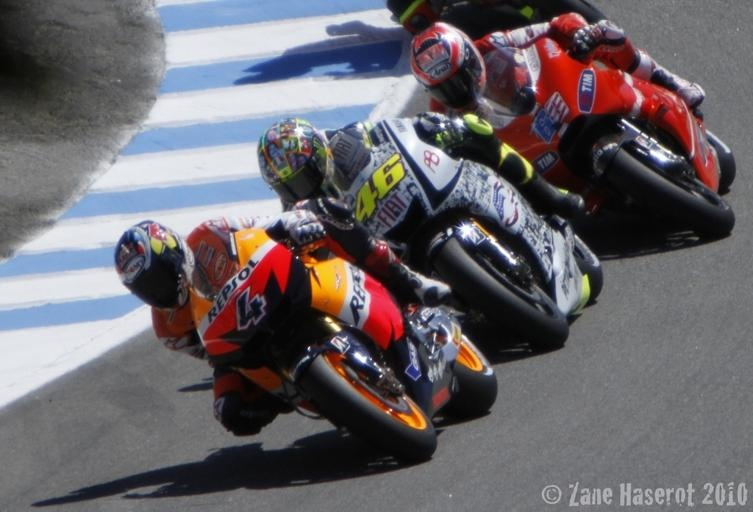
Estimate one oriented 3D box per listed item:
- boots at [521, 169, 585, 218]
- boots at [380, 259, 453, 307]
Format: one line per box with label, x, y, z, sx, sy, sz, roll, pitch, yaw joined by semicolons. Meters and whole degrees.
boots;1.629;-0.517;10.781;0.371;0.490;0.222;-131;63;-74
boots;0.318;0.159;9.609;0.710;0.255;0.318;21;8;13
